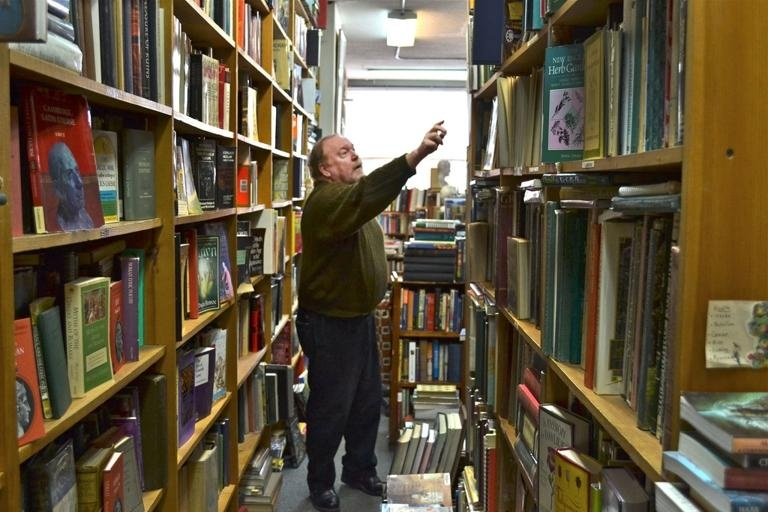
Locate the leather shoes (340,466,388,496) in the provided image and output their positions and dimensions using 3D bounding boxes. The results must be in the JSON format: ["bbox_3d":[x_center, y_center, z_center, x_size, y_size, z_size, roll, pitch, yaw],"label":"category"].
[{"bbox_3d":[-0.107,1.355,3.910,0.316,0.161,0.125,8,9,21],"label":"leather shoes"}]
